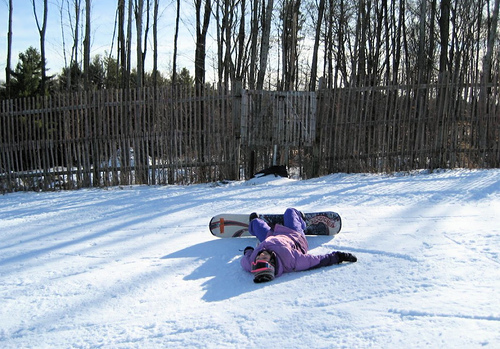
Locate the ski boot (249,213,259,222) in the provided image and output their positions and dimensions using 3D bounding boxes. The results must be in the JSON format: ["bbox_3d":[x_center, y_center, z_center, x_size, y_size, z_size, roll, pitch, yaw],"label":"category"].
[{"bbox_3d":[0.060,0.721,8.370,0.123,0.172,0.419,2,3,4],"label":"ski boot"}]

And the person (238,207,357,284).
[{"bbox_3d":[0.608,1.021,7.923,1.697,0.724,1.390,-5,12,-16],"label":"person"}]

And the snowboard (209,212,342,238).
[{"bbox_3d":[0.423,0.855,8.608,2.245,0.416,0.277,-1,12,4],"label":"snowboard"}]

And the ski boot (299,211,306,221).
[{"bbox_3d":[0.895,0.711,8.532,0.091,0.154,0.185,0,12,6],"label":"ski boot"}]

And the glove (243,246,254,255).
[{"bbox_3d":[-0.021,1.176,7.778,0.155,0.117,0.172,-1,12,1],"label":"glove"}]
